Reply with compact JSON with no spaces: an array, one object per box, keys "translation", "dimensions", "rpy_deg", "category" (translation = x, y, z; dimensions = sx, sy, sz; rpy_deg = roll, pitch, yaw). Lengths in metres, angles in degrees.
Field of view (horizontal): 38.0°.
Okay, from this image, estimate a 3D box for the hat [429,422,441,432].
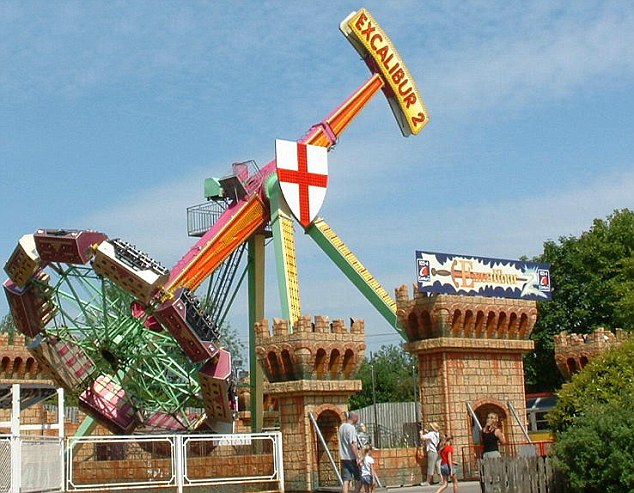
[{"translation":[4.564,7.008,35.860],"dimensions":[0.540,0.197,0.530],"rpy_deg":[42,-3,18],"category":"hat"}]
